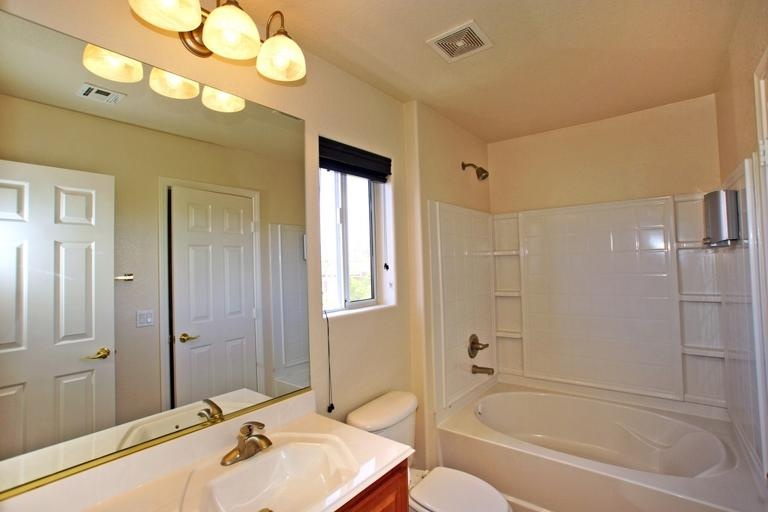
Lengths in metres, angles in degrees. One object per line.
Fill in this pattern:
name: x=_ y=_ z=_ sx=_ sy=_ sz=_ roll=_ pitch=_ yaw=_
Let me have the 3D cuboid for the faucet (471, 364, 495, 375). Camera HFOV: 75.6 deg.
faucet: x=0.785 y=0.914 z=3.920 sx=0.154 sy=0.080 sz=0.091 roll=-1 pitch=1 yaw=34

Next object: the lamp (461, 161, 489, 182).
lamp: x=0.763 y=-0.685 z=4.026 sx=0.120 sy=0.188 sz=0.316 roll=-3 pitch=1 yaw=-25

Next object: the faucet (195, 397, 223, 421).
faucet: x=-0.890 y=0.787 z=2.554 sx=0.128 sy=0.101 sz=0.079 roll=6 pitch=-2 yaw=17
